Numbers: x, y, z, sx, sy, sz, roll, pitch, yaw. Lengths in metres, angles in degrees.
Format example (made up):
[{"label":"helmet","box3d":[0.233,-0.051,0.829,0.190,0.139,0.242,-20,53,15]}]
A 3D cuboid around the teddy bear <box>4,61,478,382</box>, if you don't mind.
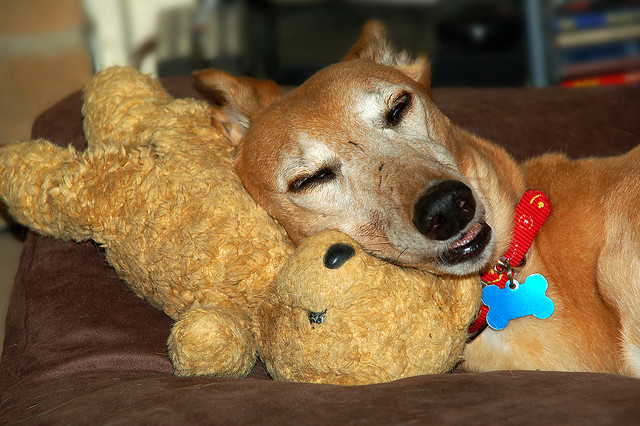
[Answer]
[{"label":"teddy bear","box3d":[-0.413,0.113,3.164,1.251,0.638,1.766,-28,59,-35]}]
